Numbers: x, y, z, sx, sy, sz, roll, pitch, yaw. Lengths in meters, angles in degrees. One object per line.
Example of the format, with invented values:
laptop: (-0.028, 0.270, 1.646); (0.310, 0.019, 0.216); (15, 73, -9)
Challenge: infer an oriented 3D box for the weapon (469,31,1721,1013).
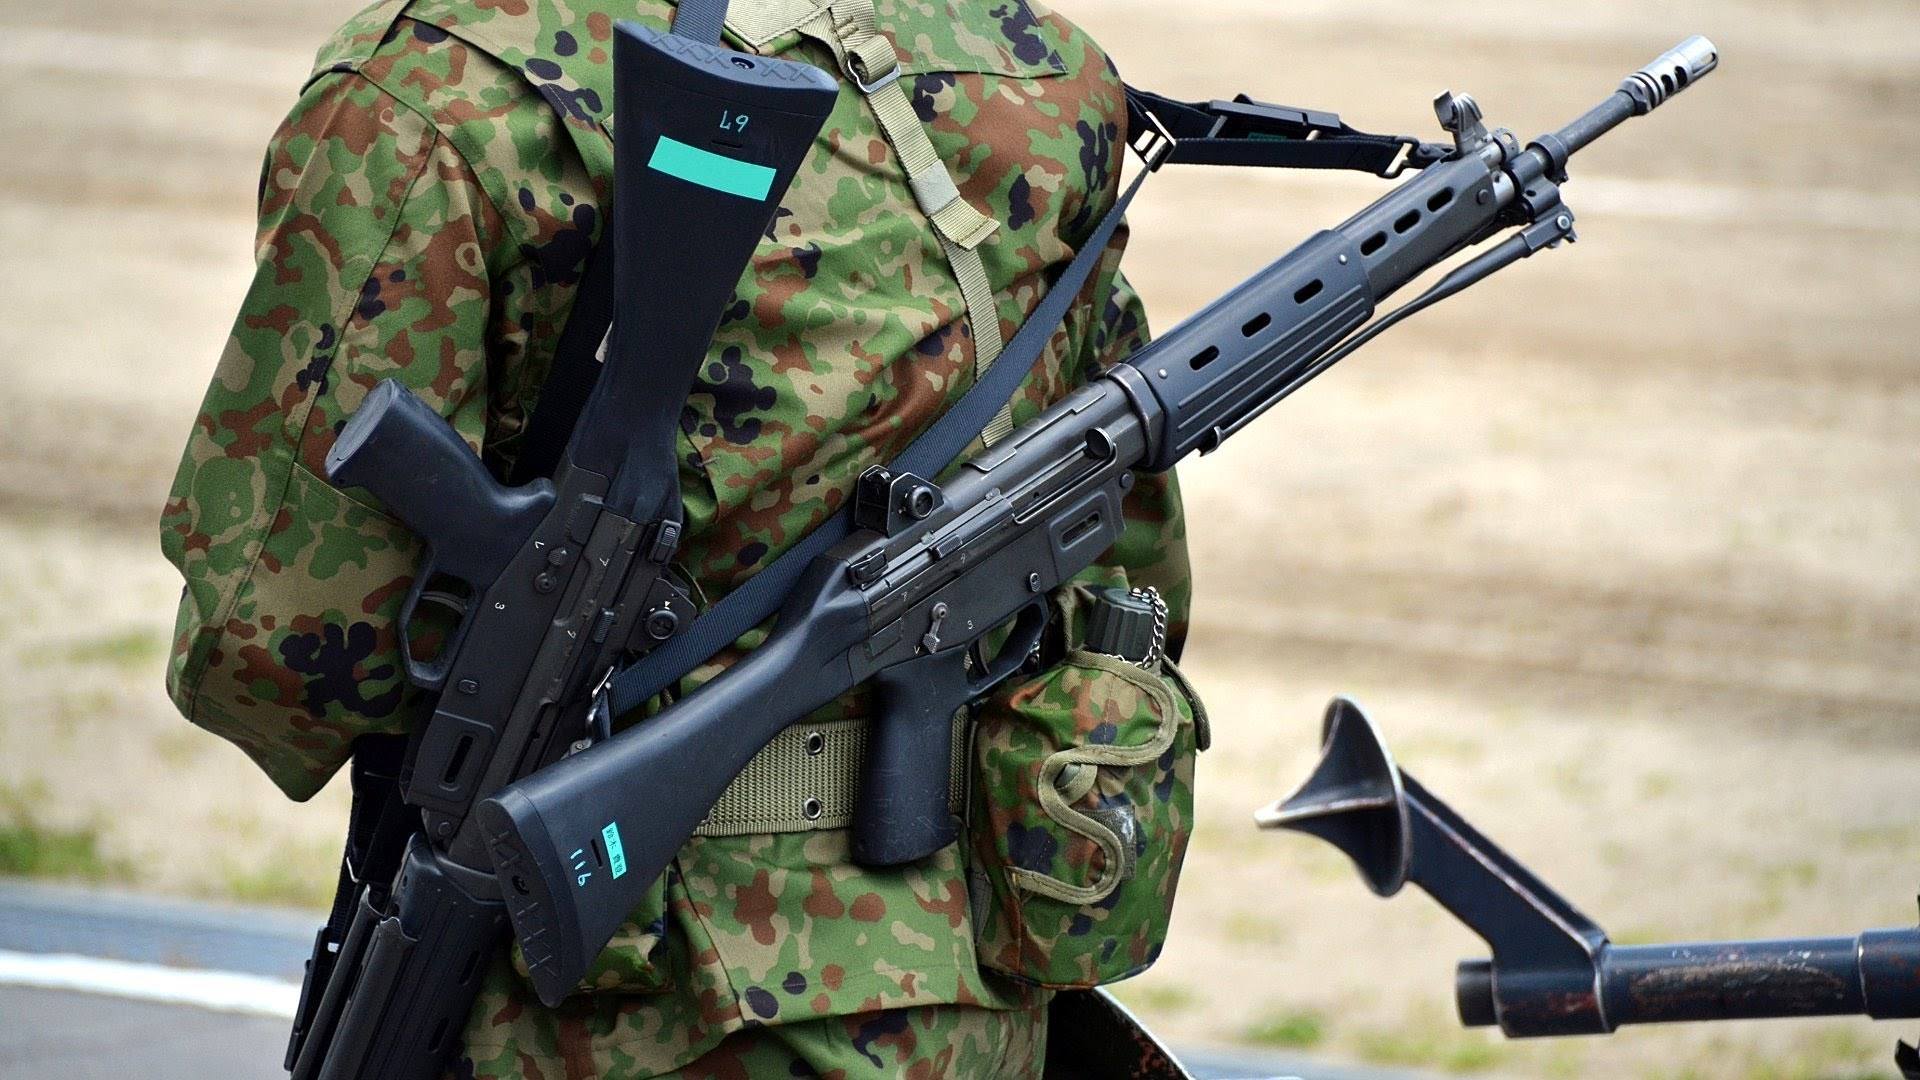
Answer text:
weapon: (0.405, -0.018, 7.516); (0.448, 4.936, 1.300); (46, -13, 49)

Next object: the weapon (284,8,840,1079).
weapon: (-1.043, -0.065, 6.797); (1.147, 2.947, 0.486); (29, 1, -12)
